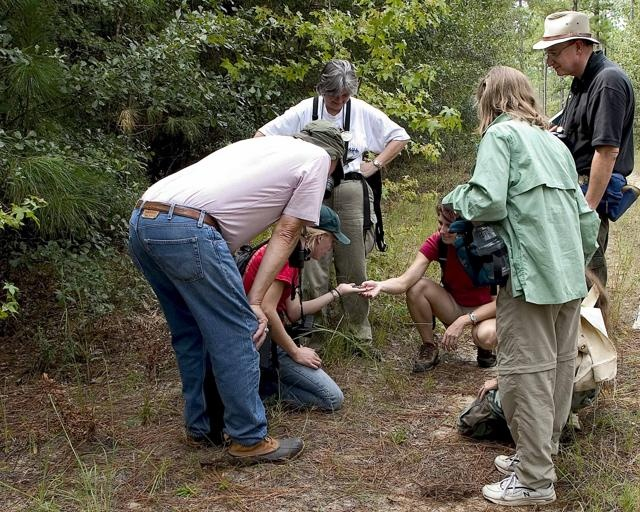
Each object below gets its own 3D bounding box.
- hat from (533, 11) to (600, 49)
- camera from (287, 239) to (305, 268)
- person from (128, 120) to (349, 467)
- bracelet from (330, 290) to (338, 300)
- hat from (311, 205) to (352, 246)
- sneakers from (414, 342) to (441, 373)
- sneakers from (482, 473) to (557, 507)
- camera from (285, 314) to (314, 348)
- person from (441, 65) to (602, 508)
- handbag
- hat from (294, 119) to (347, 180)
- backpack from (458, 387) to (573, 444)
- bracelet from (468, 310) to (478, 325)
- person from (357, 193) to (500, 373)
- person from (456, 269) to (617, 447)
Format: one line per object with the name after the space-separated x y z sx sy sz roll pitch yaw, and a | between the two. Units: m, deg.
1.758 -1.611 4.286 0.477 0.256 0.456 0 18 10 | hat
-0.154 -0.005 3.651 0.145 0.155 0.114 0 5 -9 | camera
-0.356 0.188 3.607 1.372 1.922 0.756 0 4 -31 | person
0.107 0.285 4.423 0.045 0.072 0.077 -5 -16 11 | bracelet
0.062 -0.219 4.013 0.363 0.195 0.237 20 -3 -6 | hat
0.866 0.815 4.812 0.119 0.149 0.322 2 5 26 | sneakers
1.093 1.282 3.318 0.396 0.197 0.160 2 0 4 | sneakers
-0.112 0.566 4.247 0.268 0.124 0.218 -5 17 -9 | camera
1.122 0.154 3.256 0.683 2.283 0.873 2 18 26 | person
0.853 -0.008 3.297 0.317 0.332 0.230 -10 -6 7 | handbag
0.036 -0.737 3.726 0.251 0.217 0.199 5 15 23 | hat
1.193 0.966 3.772 0.571 0.263 0.331 0 0 23 | backpack
1.179 0.477 4.650 0.064 0.097 0.098 -3 14 -10 | bracelet
0.928 0.226 4.751 1.115 1.445 0.916 -1 10 -2 | person
1.308 0.633 3.554 0.952 1.002 0.541 5 -7 -32 | person
